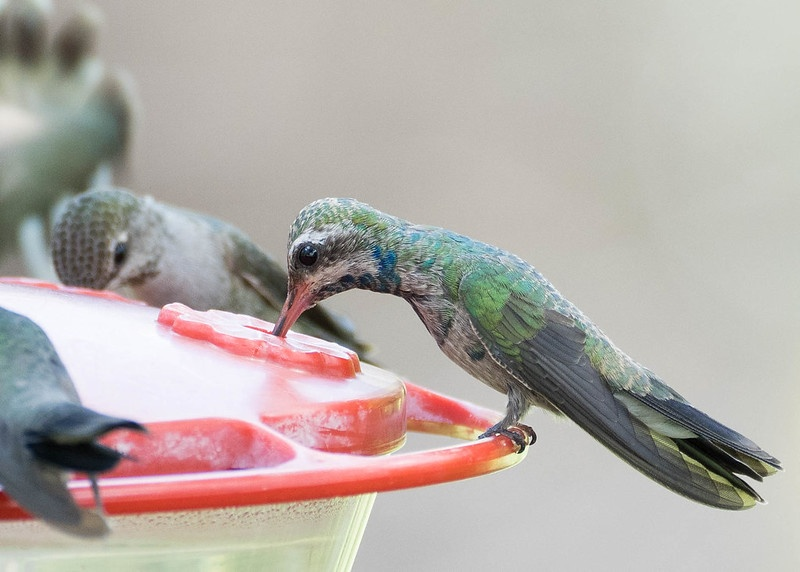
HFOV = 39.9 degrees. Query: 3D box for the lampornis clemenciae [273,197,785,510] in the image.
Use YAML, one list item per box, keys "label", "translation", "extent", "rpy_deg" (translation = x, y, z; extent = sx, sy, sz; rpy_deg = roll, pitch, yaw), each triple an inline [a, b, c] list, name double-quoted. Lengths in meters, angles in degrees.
- label: "lampornis clemenciae"
  translation: [0.136, 0.064, 1.303]
  extent: [0.830, 0.335, 0.237]
  rpy_deg: [8, -1, 9]
